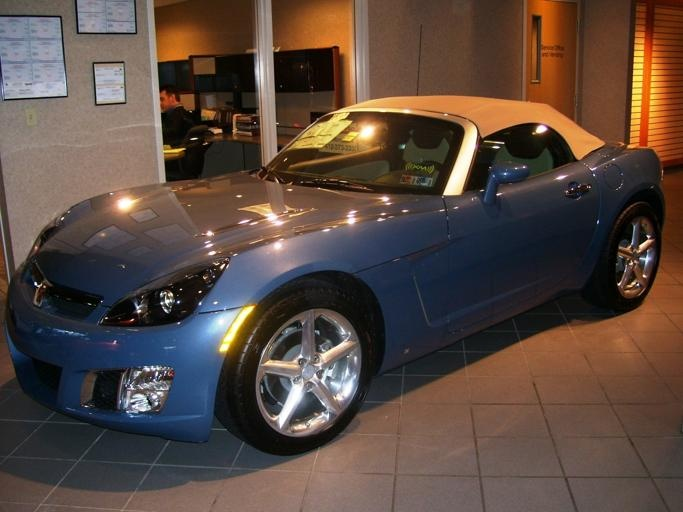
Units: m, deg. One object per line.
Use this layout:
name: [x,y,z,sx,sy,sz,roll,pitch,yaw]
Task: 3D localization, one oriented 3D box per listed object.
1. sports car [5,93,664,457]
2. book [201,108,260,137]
sports car: [0.291,-0.026,3.563,4.245,1.426,2.035,-10,19,-32]
book: [-1.352,-1.588,5.869,0.448,0.165,0.328,-8,14,-44]
